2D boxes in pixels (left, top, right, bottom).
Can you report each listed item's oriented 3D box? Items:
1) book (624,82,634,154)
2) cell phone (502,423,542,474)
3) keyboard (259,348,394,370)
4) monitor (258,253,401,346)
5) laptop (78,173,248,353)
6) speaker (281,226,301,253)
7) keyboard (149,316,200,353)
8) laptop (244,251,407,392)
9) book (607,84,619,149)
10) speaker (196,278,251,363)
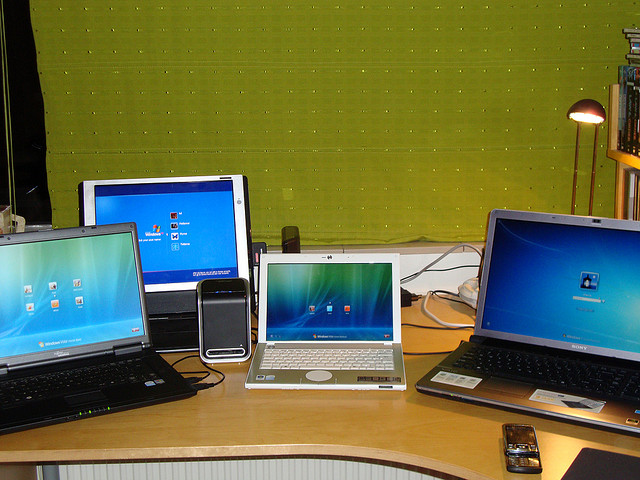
[{"bbox_3d":[1.240,-0.493,2.291,0.025,0.270,0.060,2,8,14],"label":"book"},{"bbox_3d":[0.504,0.522,1.430,0.084,0.076,0.114,1,8,11],"label":"cell phone"},{"bbox_3d":[0.023,0.368,1.769,0.404,0.033,0.110,0,7,1],"label":"keyboard"},{"bbox_3d":[0.031,0.200,1.861,0.458,0.292,0.010,-1,-14,8],"label":"monitor"},{"bbox_3d":[-0.435,0.058,1.872,0.539,0.483,0.404,-7,22,-33],"label":"laptop"},{"bbox_3d":[-0.117,0.004,2.276,0.066,0.093,0.217,-1,7,-4],"label":"speaker"},{"bbox_3d":[-0.469,0.319,1.951,0.207,0.150,0.046,3,-7,25],"label":"keyboard"},{"bbox_3d":[0.018,0.234,1.735,0.480,0.262,0.415,1,17,9],"label":"laptop"},{"bbox_3d":[1.254,-0.527,2.446,0.037,0.279,0.086,2,8,15],"label":"book"},{"bbox_3d":[-0.308,0.259,1.819,0.217,0.305,0.228,0,2,-6],"label":"speaker"}]
